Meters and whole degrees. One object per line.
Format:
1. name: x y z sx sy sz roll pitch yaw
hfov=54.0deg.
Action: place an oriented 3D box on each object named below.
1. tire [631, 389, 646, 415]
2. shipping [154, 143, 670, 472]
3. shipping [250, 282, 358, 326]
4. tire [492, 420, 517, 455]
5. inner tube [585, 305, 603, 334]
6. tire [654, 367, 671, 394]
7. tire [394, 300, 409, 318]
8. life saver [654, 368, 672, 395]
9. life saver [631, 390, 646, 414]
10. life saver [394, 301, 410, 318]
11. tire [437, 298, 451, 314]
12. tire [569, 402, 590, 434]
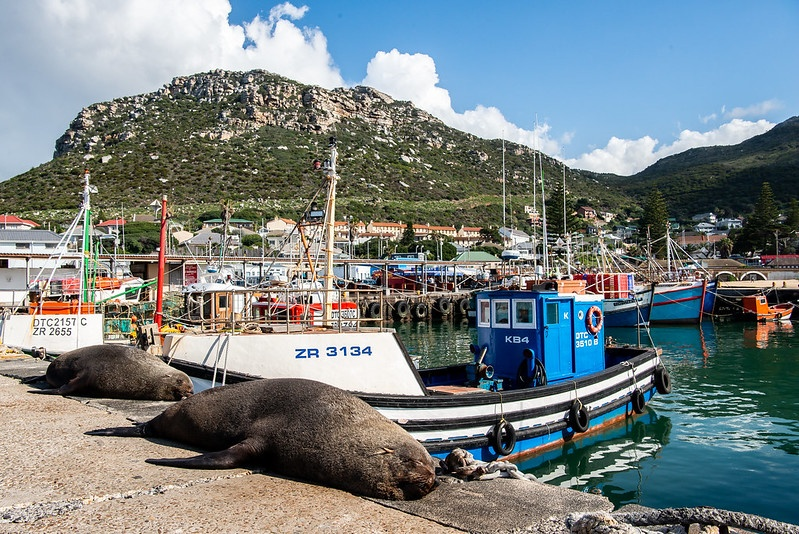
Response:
1. tire: 7.674 4.374 25.248 0.310 0.801 0.842 1 -8 32
2. shipping: 2.117 1.492 23.577 12.892 6.944 4.374 -5 11 -15
3. shipping: -3.338 1.648 28.171 3.962 1.770 2.211 3 -1 4
4. tire: 2.818 4.780 21.645 0.702 1.055 0.397 -3 15 -41
5. inner tube: 6.038 1.694 24.276 0.219 0.776 0.728 -3 10 33
6. tire: 8.847 3.888 26.461 0.348 0.925 0.950 -5 -38 30
7. tire: 0.109 2.884 53.349 1.210 1.125 0.418 4 -1 -15
8. life saver: 8.896 3.926 26.561 0.355 0.939 0.968 -5 -36 30
9. life saver: 7.672 4.379 25.237 0.321 0.829 0.871 0 3 30
10. life saver: 0.173 2.910 53.328 1.209 1.123 0.416 4 -2 -16
11. tire: 3.096 2.764 55.095 1.183 1.100 0.400 1 -2 -18
12. tire: 5.270 4.470 23.102 0.327 0.879 0.833 -7 -21 38
